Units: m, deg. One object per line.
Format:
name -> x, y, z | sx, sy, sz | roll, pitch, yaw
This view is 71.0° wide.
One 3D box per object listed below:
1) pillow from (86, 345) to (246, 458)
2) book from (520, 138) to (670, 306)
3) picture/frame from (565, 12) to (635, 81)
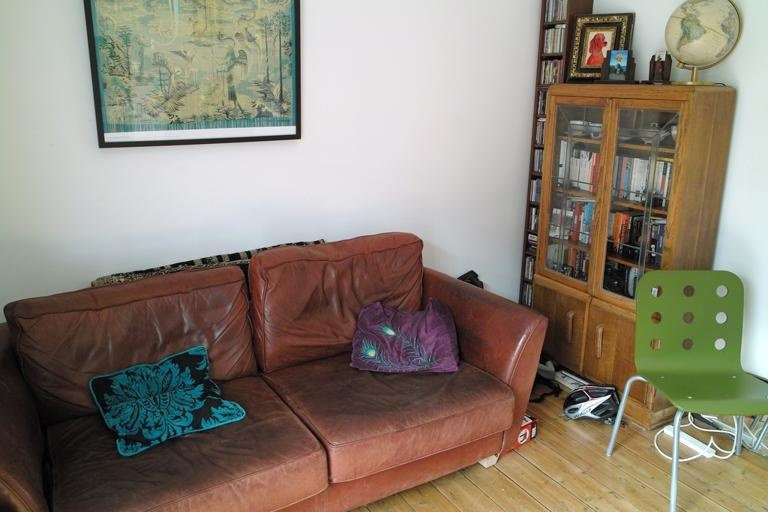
pillow -> -1.082, 0.702, 2.688 | 0.653, 0.307, 0.452 | -11, 18, -30
book -> 1.443, -0.230, 3.604 | 0.357, 1.334, 0.971 | -12, 21, -39
picture/frame -> 1.499, -1.436, 3.686 | 0.457, 0.540, 0.048 | 26, 20, 38
